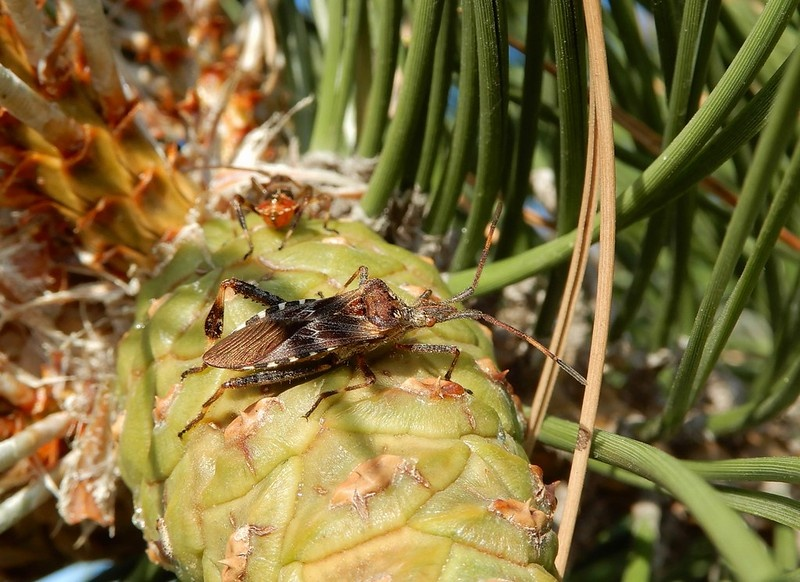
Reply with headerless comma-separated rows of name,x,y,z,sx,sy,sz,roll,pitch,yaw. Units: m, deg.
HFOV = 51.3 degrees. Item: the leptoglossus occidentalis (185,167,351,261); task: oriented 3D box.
leptoglossus occidentalis,-0.330,-0.244,2.318,0.267,0.119,0.341,12,17,-12
